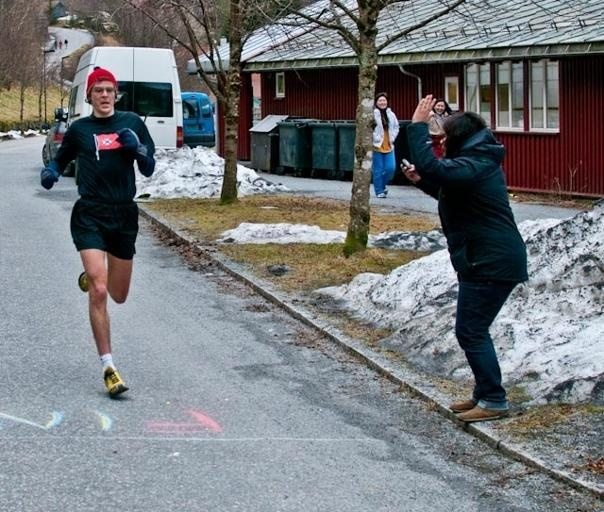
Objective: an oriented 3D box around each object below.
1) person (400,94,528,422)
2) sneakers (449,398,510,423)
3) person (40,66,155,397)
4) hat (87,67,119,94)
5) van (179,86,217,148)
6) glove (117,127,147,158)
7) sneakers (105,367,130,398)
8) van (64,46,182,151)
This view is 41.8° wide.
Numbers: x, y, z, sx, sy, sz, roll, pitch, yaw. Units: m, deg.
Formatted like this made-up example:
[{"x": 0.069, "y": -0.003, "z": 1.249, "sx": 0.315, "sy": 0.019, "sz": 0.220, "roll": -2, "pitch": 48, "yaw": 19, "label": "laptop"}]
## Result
[{"x": 1.015, "y": 0.024, "z": 4.998, "sx": 0.795, "sy": 2.062, "sz": 0.550, "roll": 4, "pitch": 12, "yaw": 13, "label": "person"}, {"x": 1.144, "y": 0.995, "z": 5.065, "sx": 0.248, "sy": 0.070, "sz": 0.176, "roll": 2, "pitch": -1, "yaw": -6, "label": "sneakers"}, {"x": -1.464, "y": -0.223, "z": 5.735, "sx": 0.772, "sy": 2.295, "sz": 0.919, "roll": -1, "pitch": 11, "yaw": -8, "label": "person"}, {"x": -1.454, "y": -1.307, "z": 5.813, "sx": 0.260, "sy": 0.189, "sz": 0.244, "roll": -8, "pitch": 11, "yaw": -23, "label": "hat"}, {"x": -4.202, "y": -5.587, "z": 32.322, "sx": 1.123, "sy": 2.284, "sz": 2.455, "roll": 1, "pitch": 11, "yaw": -1, "label": "van"}, {"x": -1.207, "y": -0.828, "z": 5.747, "sx": 0.169, "sy": 0.208, "sz": 0.292, "roll": 7, "pitch": 12, "yaw": 30, "label": "glove"}, {"x": -1.315, "y": 0.886, "z": 5.515, "sx": 0.110, "sy": 0.121, "sz": 0.291, "roll": -33, "pitch": 19, "yaw": -14, "label": "sneakers"}, {"x": -4.625, "y": -4.446, "z": 21.130, "sx": 2.194, "sy": 1.885, "sz": 3.793, "roll": -1, "pitch": 10, "yaw": -12, "label": "van"}]
